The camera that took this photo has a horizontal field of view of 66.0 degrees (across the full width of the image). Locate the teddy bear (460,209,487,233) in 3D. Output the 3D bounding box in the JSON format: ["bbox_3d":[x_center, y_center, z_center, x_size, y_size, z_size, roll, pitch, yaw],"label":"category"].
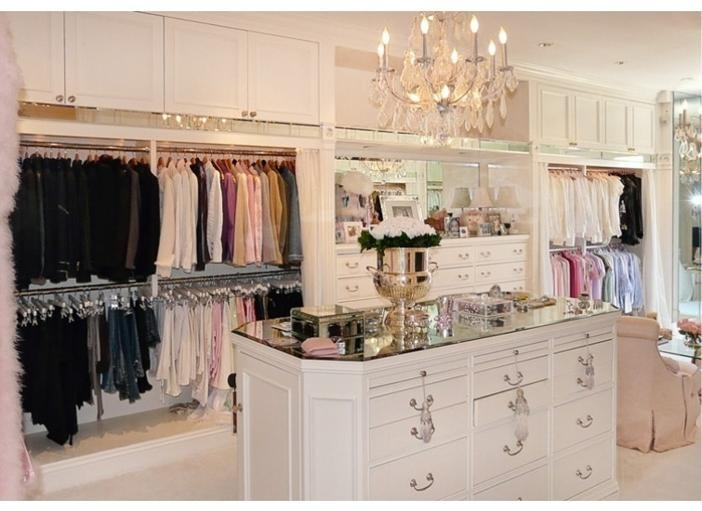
[{"bbox_3d":[1.399,-0.408,6.318,0.250,0.314,0.286,4,6,38],"label":"teddy bear"}]
